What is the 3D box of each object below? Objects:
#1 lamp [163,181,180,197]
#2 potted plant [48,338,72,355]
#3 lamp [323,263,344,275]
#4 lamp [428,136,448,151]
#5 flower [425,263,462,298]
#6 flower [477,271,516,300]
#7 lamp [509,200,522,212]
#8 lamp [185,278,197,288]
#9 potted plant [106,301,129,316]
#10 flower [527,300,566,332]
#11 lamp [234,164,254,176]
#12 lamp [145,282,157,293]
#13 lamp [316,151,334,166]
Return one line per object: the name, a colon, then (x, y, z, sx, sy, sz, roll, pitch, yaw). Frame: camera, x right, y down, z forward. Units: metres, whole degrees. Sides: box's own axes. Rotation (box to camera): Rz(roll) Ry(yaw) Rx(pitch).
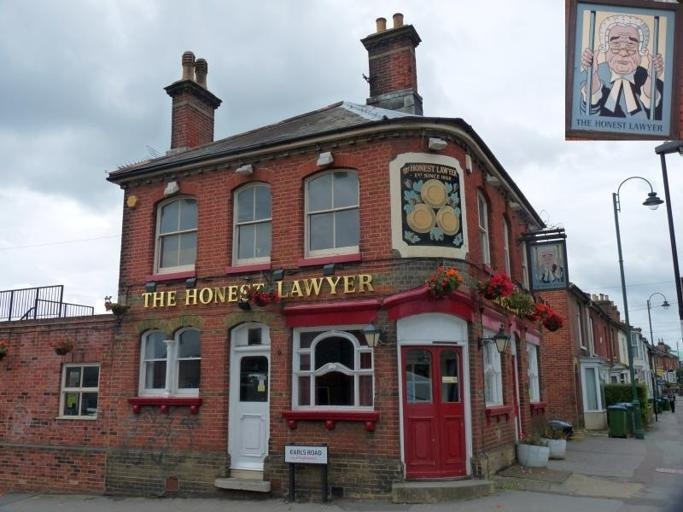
lamp: (-4.741, -1.877, 18.546, 0.362, 0.356, 0.146, -15, -25, 32)
potted plant: (-7.890, 2.561, 18.807, 0.479, 0.471, 0.413, -9, -17, 19)
lamp: (-0.286, 0.345, 16.259, 0.313, 0.215, 0.300, -3, -11, 19)
lamp: (2.339, -2.783, 16.281, 0.543, 0.392, 0.307, 1, -54, -12)
flower: (2.456, 0.595, 15.441, 0.697, 0.699, 0.751, 5, -6, -33)
flower: (3.969, 0.743, 16.945, 0.756, 0.719, 0.847, -9, -17, 20)
lamp: (5.550, -1.612, 21.187, 0.324, 0.297, 0.085, 4, 16, -31)
lamp: (-4.006, 0.724, 17.667, 0.213, 0.218, 0.112, -1, -11, 15)
potted plant: (-6.201, 1.426, 18.233, 0.478, 0.358, 0.569, -7, -17, 12)
flower: (6.528, 1.939, 21.078, 1.222, 0.806, 1.435, 14, -1, 5)
lamp: (-2.585, -2.298, 17.639, 0.577, 0.246, 0.296, -12, -19, 27)
lamp: (-5.197, 0.890, 18.230, 0.311, 0.358, 0.255, -3, -12, 4)
lamp: (-0.392, -2.457, 16.692, 0.328, 0.317, 0.120, -7, -25, 23)
